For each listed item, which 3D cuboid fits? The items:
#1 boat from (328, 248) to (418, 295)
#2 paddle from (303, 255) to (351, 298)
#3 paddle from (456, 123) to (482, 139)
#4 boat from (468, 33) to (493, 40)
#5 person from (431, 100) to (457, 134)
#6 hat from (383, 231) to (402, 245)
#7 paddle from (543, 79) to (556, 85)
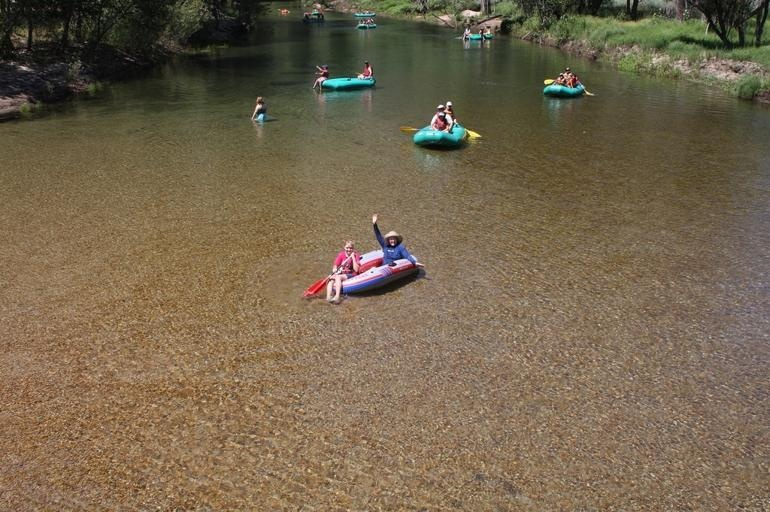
[{"bbox_3d":[-0.181,0.425,15.522,1.623,0.439,0.951,-22,34,-28],"label":"boat"},{"bbox_3d":[-1.262,0.413,15.743,0.210,0.316,2.017,-19,17,42],"label":"paddle"},{"bbox_3d":[3.531,-5.076,25.941,0.460,0.111,2.246,-34,-12,21],"label":"paddle"},{"bbox_3d":[9.169,-21.061,60.356,1.160,0.696,4.742,12,22,34],"label":"boat"},{"bbox_3d":[2.427,-5.658,25.613,1.103,0.821,1.781,7,35,8],"label":"person"},{"bbox_3d":[0.204,-0.502,15.971,0.385,0.338,0.401,-1,19,0],"label":"hat"},{"bbox_3d":[9.406,-9.928,35.960,0.885,0.340,1.182,1,17,6],"label":"paddle"}]
